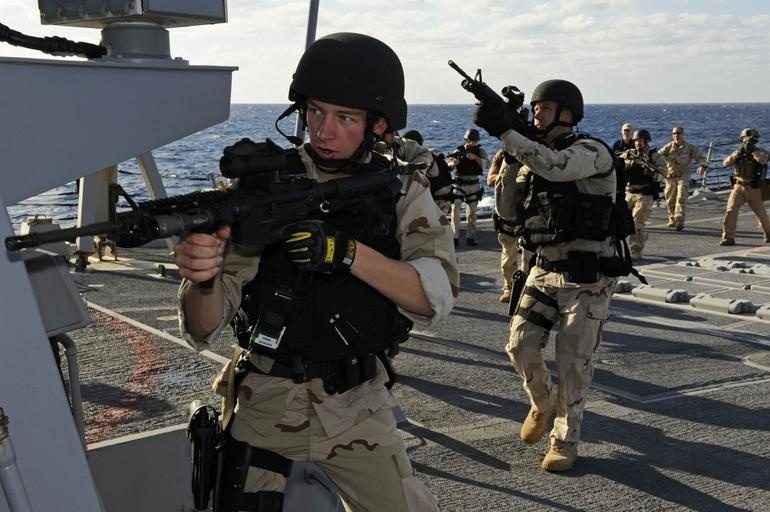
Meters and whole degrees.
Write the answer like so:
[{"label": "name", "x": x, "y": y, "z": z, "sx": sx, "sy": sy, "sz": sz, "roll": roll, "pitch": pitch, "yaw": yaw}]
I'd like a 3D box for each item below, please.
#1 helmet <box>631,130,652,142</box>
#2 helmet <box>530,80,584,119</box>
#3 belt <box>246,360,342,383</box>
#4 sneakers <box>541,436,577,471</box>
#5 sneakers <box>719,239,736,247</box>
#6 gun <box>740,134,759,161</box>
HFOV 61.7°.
[{"label": "helmet", "x": 5.772, "y": -2.701, "z": 14.445, "sx": 0.436, "sy": 0.206, "sz": 0.291, "roll": 3, "pitch": 2, "yaw": -21}, {"label": "helmet", "x": 1.600, "y": -1.458, "z": 6.012, "sx": 0.504, "sy": 0.304, "sz": 0.392, "roll": 4, "pitch": 8, "yaw": -16}, {"label": "belt", "x": -0.465, "y": 0.545, "z": 3.062, "sx": 0.460, "sy": 0.092, "sz": 0.079, "roll": 1, "pitch": 13, "yaw": 4}, {"label": "sneakers", "x": 1.398, "y": 1.568, "z": 5.160, "sx": 0.292, "sy": 0.238, "sz": 0.221, "roll": 2, "pitch": 13, "yaw": 7}, {"label": "sneakers", "x": 7.587, "y": -0.315, "z": 14.353, "sx": 0.250, "sy": 0.159, "sz": 0.527, "roll": 11, "pitch": 16, "yaw": 40}, {"label": "gun", "x": 8.137, "y": -2.535, "z": 14.575, "sx": 0.401, "sy": 0.251, "sz": 0.968, "roll": 4, "pitch": 47, "yaw": 15}]
